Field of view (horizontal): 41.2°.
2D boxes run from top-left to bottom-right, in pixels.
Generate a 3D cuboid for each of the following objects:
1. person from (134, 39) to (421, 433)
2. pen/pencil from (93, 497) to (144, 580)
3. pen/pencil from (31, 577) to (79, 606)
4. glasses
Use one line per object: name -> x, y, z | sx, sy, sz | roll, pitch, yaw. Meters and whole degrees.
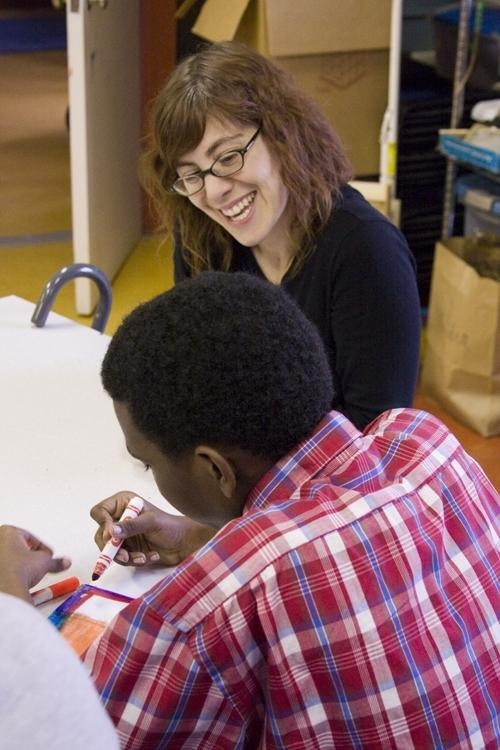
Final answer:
person -> 0.034, -0.257, 1.443 | 0.599, 0.783, 0.518 | 7, 28, 42
pen/pencil -> -0.191, 0.242, 0.965 | 0.015, 0.016, 0.108 | 26, 67, 7
pen/pencil -> -0.262, 0.291, 0.890 | 0.021, 0.020, 0.074 | -3, 8, 44
glasses -> -0.060, -0.412, 1.297 | 0.130, 0.038, 0.131 | -23, 22, 47
